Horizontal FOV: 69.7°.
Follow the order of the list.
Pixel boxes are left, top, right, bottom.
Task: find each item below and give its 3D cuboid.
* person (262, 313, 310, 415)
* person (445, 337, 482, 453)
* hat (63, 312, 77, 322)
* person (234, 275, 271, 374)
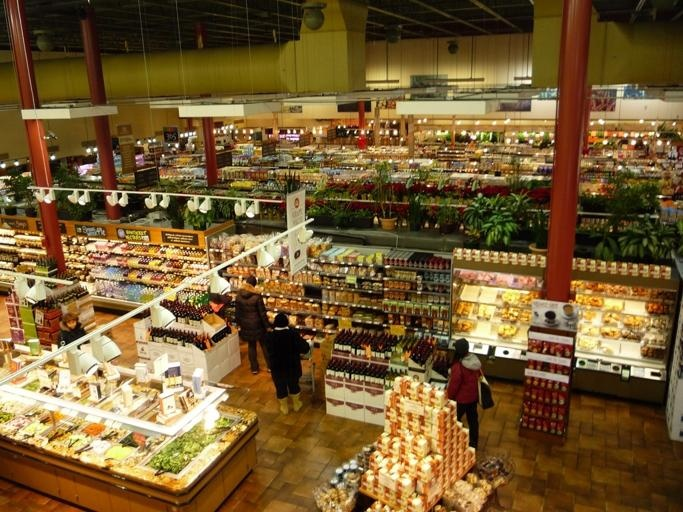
[{"bbox_3d":[-0.967,1.898,9.025,0.755,1.863,0.595,-2,12,-1],"label":"person"},{"bbox_3d":[1.940,2.243,7.767,0.523,1.891,0.446,3,17,13],"label":"person"},{"bbox_3d":[-4.872,1.073,8.825,0.166,0.131,0.164,-9,25,-34],"label":"hat"},{"bbox_3d":[-1.813,1.383,10.224,0.695,2.164,0.621,0,24,2],"label":"person"}]
